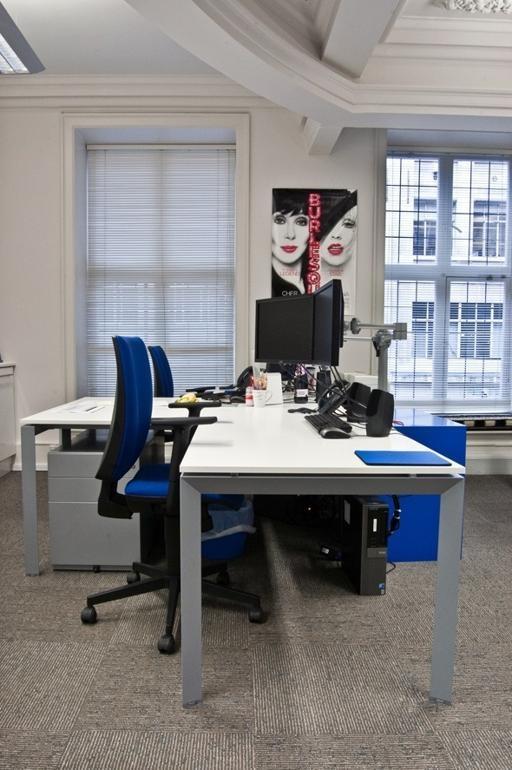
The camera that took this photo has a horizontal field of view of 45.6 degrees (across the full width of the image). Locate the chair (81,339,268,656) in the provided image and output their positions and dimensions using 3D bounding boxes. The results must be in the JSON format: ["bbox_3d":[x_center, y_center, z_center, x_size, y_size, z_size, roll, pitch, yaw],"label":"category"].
[{"bbox_3d":[-0.313,0.324,2.644,0.878,1.382,0.913,1,1,3],"label":"chair"}]

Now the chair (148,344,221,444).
[{"bbox_3d":[-0.449,0.069,3.737,0.425,0.659,0.417,2,7,11],"label":"chair"}]

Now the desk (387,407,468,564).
[{"bbox_3d":[0.811,0.598,3.002,0.384,0.701,0.730,1,-24,14],"label":"desk"}]

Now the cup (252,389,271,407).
[{"bbox_3d":[0.019,0.058,2.849,0.061,0.070,0.093,-5,-5,33],"label":"cup"}]
